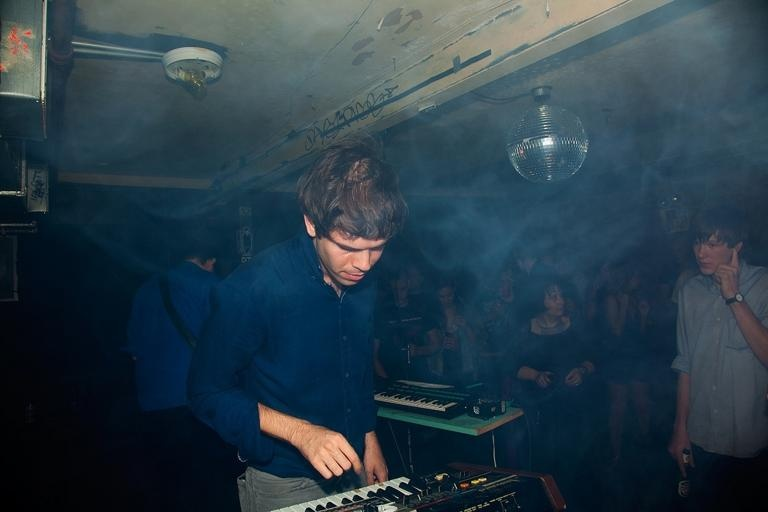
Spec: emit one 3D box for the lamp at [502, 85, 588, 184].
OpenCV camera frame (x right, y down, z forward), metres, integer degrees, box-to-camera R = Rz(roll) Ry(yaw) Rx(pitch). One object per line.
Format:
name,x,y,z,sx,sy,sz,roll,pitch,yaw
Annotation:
lamp,1.393,-1.077,5.863,0.838,0.902,0.822,-3,3,14
